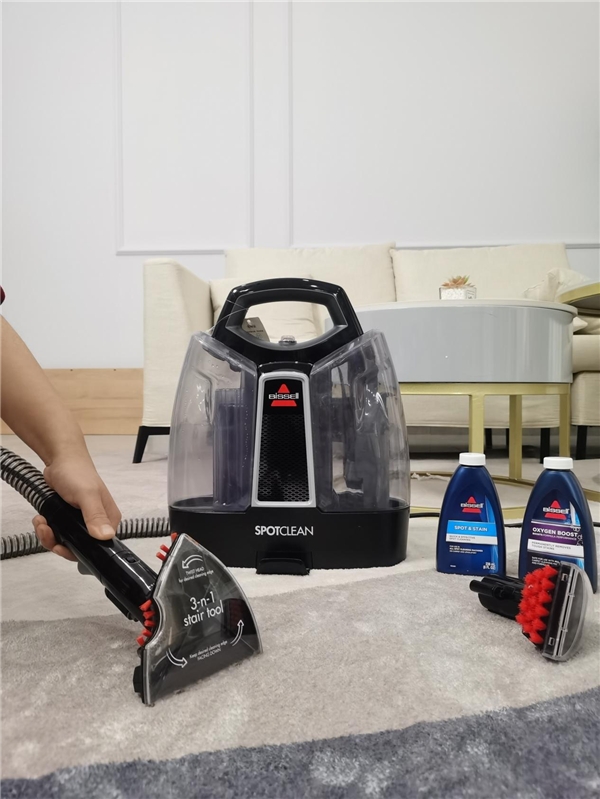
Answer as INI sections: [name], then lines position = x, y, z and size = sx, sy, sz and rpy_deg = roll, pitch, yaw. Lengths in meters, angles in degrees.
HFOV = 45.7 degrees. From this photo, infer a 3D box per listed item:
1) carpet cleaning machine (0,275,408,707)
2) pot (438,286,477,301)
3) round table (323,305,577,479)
[carpet cleaning machine]
position = -0.025, 0.064, 0.985
size = 0.407, 0.301, 0.696
rpy_deg = 0, 4, 1
[pot]
position = 0.362, -0.244, 1.645
size = 0.080, 0.028, 0.081
rpy_deg = -1, 6, 0
[round table]
position = 0.357, -0.035, 1.525
size = 0.374, 0.264, 0.365
rpy_deg = -2, 4, 0
